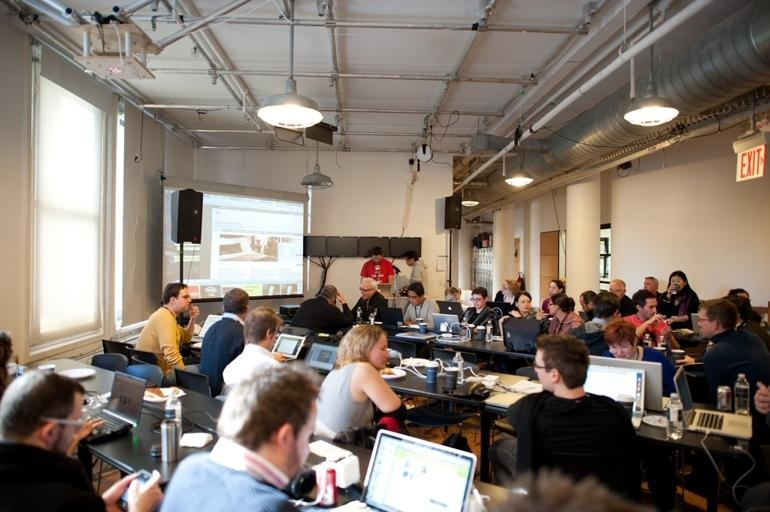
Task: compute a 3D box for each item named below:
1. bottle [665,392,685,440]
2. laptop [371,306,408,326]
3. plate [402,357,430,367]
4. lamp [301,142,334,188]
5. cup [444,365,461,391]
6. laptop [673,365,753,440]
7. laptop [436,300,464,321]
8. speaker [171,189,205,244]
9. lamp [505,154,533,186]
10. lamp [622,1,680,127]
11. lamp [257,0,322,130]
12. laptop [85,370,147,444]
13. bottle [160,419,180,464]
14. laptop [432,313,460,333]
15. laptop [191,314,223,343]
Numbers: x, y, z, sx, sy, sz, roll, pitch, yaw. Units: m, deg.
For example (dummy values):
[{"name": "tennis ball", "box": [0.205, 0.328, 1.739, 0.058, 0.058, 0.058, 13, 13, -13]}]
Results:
[{"name": "bottle", "box": [2.353, 1.276, 4.349, 0.122, 0.301, 0.369, 2, -1, 29]}, {"name": "laptop", "box": [0.131, 0.848, 7.815, 0.373, 0.224, 0.269, -7, 3, 45]}, {"name": "plate", "box": [0.312, 1.129, 5.749, 0.189, 0.043, 0.189, -2, -2, 20]}, {"name": "lamp", "box": [-1.139, -1.634, 9.014, 0.473, 0.809, 0.459, -2, 6, -42]}, {"name": "cup", "box": [0.630, 1.142, 5.074, 0.176, 0.193, 0.186, 0, 0, 0]}, {"name": "laptop", "box": [2.738, 1.258, 4.483, 0.538, 0.440, 0.618, -2, -1, 34]}, {"name": "laptop", "box": [0.976, 0.745, 7.830, 0.350, 0.243, 0.253, 0, 3, 34]}, {"name": "speaker", "box": [-3.090, -0.624, 8.409, 0.478, 0.816, 0.319, 3, -1, -28]}, {"name": "lamp", "box": [2.163, -1.364, 8.289, 0.304, 0.299, 0.333, -10, -4, 37]}, {"name": "lamp", "box": [2.845, -2.011, 5.678, 0.469, 1.274, 1.299, 2, -1, 27]}, {"name": "lamp", "box": [-0.946, -2.041, 5.657, 0.591, 1.170, 1.231, 3, -1, -7]}, {"name": "laptop", "box": [-2.168, 1.143, 4.180, 0.503, 0.306, 0.417, 3, 7, 39]}, {"name": "bottle", "box": [-1.525, 1.303, 3.826, 0.120, 0.302, 0.093, 3, -1, -21]}, {"name": "laptop", "box": [0.825, 0.888, 7.356, 0.358, 0.246, 0.265, 1, -2, 39]}, {"name": "laptop", "box": [-2.317, 0.915, 6.931, 0.465, 0.319, 0.529, 7, -10, -39]}]
